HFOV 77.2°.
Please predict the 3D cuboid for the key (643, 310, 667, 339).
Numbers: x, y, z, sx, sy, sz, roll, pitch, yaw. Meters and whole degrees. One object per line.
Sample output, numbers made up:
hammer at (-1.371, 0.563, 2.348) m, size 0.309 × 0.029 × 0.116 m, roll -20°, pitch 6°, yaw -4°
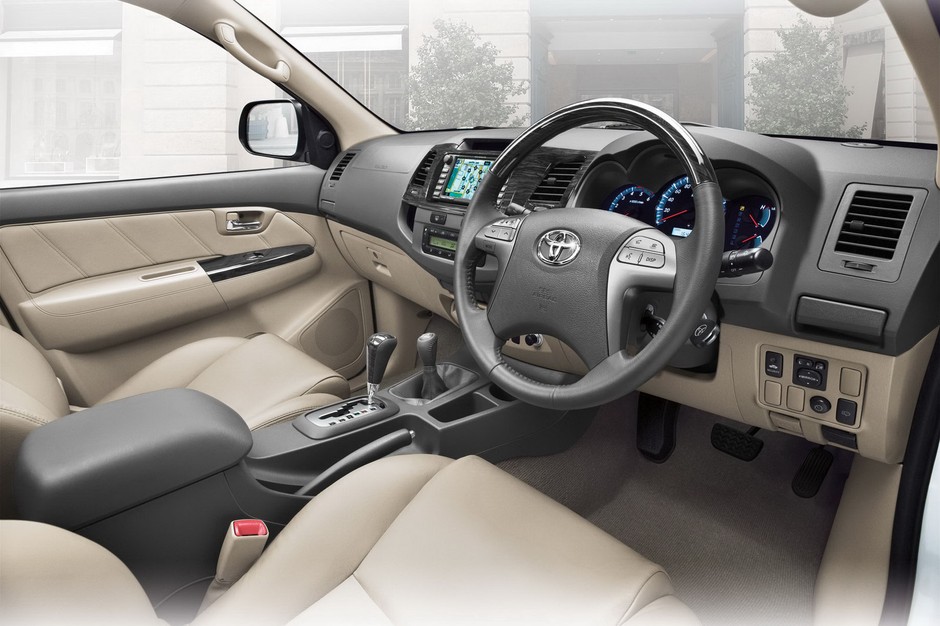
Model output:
key at (0.385, 0.022, 1.248) m, size 0.059 × 0.058 × 0.046 m, roll 12°, pitch 7°, yaw 11°
